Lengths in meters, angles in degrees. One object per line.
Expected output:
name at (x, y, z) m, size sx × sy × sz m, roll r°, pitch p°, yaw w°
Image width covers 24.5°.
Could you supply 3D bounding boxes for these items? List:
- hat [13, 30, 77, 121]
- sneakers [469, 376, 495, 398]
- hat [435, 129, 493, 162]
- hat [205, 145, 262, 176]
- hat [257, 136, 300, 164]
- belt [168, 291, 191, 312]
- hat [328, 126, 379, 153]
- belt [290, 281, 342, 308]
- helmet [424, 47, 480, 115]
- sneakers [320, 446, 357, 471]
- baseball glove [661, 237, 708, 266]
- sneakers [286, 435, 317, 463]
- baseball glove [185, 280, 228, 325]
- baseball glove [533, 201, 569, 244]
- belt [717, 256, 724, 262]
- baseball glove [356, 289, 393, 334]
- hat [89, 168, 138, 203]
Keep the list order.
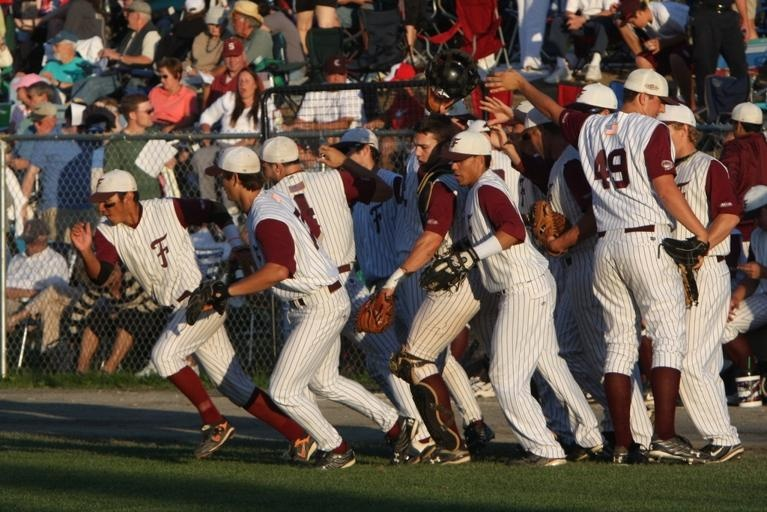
hat at (-4.555, -2.433, 24.111) m, size 0.789 × 0.612 × 1.306 m, roll 19°, pitch 34°, yaw -9°
sneakers at (1.110, 1.484, 19.878) m, size 0.283 × 0.248 × 0.245 m, roll -1°, pitch 5°, yaw -4°
hat at (0.843, -1.094, 17.297) m, size 0.398 × 0.206 × 0.283 m, roll 2°, pitch 8°, yaw -1°
hat at (-1.468, -0.914, 17.479) m, size 0.453 × 0.224 × 0.308 m, roll 5°, pitch 15°, yaw 8°
hat at (-1.003, -1.058, 17.486) m, size 0.320 × 0.177 × 0.252 m, roll 21°, pitch 34°, yaw 40°
belt at (-2.009, 0.463, 17.851) m, size 0.065 × 0.244 × 0.162 m, roll 43°, pitch 5°, yaw -43°
hat at (-0.271, -1.222, 18.439) m, size 0.365 × 0.199 × 0.251 m, roll -2°, pitch -5°, yaw -9°
belt at (-0.707, 0.333, 17.305) m, size 0.311 × 0.077 × 0.344 m, roll -27°, pitch 0°, yaw 34°
helmet at (0.722, -1.832, 18.478) m, size 0.545 × 0.648 × 0.284 m, roll 0°, pitch 5°, yaw 0°
sneakers at (-0.451, 1.987, 17.315) m, size 0.389 × 0.158 × 0.147 m, roll -1°, pitch 1°, yaw -15°
baseball glove at (2.848, -0.089, 17.051) m, size 0.517 × 0.237 × 0.187 m, roll 17°, pitch 18°, yaw -9°
sneakers at (-0.790, 1.930, 17.482) m, size 0.182 × 0.144 × 0.399 m, roll 26°, pitch 43°, yaw 2°
baseball glove at (-1.691, 0.454, 17.157) m, size 0.402 × 0.430 × 0.375 m, roll -1°, pitch 5°, yaw -7°
baseball glove at (1.608, -0.335, 17.480) m, size 0.381 × 0.169 × 0.296 m, roll 32°, pitch -14°, yaw -13°
belt at (3.332, 0.019, 17.637) m, size 0.056 × 0.050 × 0.013 m, roll 4°, pitch -4°, yaw -22°
baseball glove at (-0.071, 0.555, 17.280) m, size 0.202 × 0.435 × 0.320 m, roll 26°, pitch -17°, yaw 2°
hat at (-2.692, -0.720, 17.788) m, size 0.425 × 0.234 × 0.290 m, roll -7°, pitch 9°, yaw -25°
